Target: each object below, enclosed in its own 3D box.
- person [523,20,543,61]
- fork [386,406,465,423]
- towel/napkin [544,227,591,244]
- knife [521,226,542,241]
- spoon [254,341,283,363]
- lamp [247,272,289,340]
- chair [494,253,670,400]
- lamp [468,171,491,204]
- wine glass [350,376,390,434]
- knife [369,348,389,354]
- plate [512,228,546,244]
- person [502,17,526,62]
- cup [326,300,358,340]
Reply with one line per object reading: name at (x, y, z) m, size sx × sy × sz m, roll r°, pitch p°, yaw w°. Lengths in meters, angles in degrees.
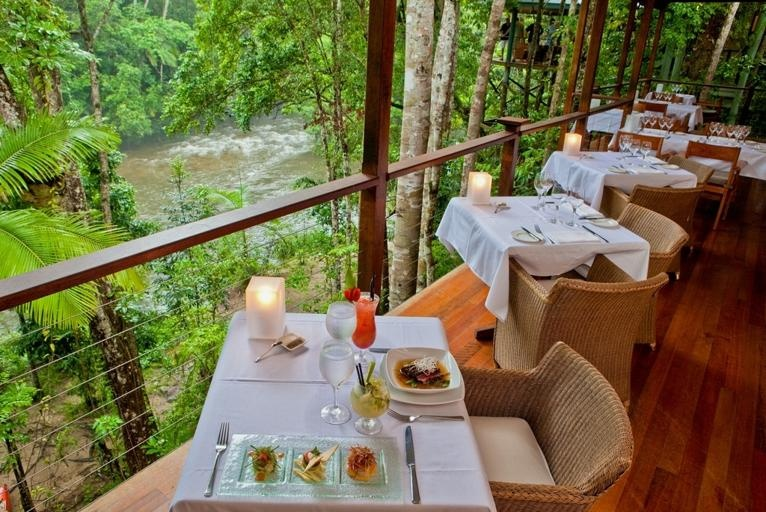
person at (4.165, -5.906, 13.529) m, size 0.481 × 0.879 × 2.447 m, roll 9°, pitch 30°, yaw 12°
fork at (0.185, 0.747, 2.329) m, size 0.407 × 0.062 × 0.054 m, roll 3°, pitch 41°, yaw -4°
towel/napkin at (1.410, -0.170, 3.772) m, size 0.384 × 0.030 × 0.266 m, roll -1°, pitch 29°, yaw -6°
knife at (1.109, -0.191, 3.809) m, size 0.047 × 0.047 × 0.339 m, roll -39°, pitch 21°, yaw 2°
spoon at (-0.586, 0.492, 2.545) m, size 0.063 × 0.029 × 0.163 m, roll 43°, pitch 48°, yaw 9°
lamp at (-0.634, 0.310, 2.706) m, size 0.282 × 0.309 × 0.288 m, roll -6°, pitch -10°, yaw 8°
chair at (1.382, 0.350, 3.790) m, size 0.975 × 1.091 × 1.111 m, roll -5°, pitch 33°, yaw -6°
lamp at (0.871, -0.572, 4.264) m, size 0.237 × 0.242 × 0.226 m, roll -7°, pitch 16°, yaw -15°
wine glass at (-0.059, 0.681, 2.291) m, size 0.182 × 0.260 × 0.177 m, roll 2°, pitch 17°, yaw -1°
knife at (-0.020, 0.495, 2.610) m, size 0.021 × 0.029 × 0.272 m, roll 0°, pitch -7°, yaw -18°
plate at (1.066, -0.138, 3.693) m, size 0.182 × 0.027 × 0.211 m, roll -17°, pitch 34°, yaw -30°
person at (3.616, -6.056, 13.760) m, size 0.740 × 1.050 × 2.370 m, roll 8°, pitch 30°, yaw 10°
cup at (-0.200, 0.320, 2.552) m, size 0.175 × 0.275 × 0.168 m, roll 3°, pitch 37°, yaw -2°
